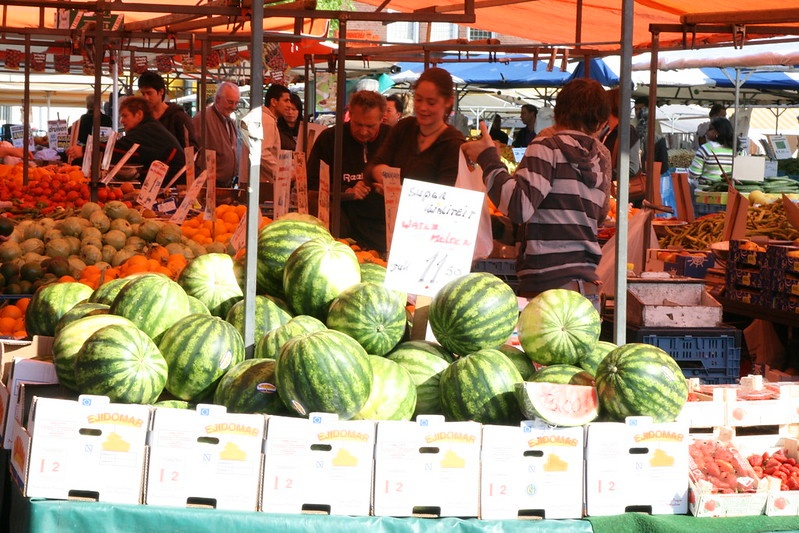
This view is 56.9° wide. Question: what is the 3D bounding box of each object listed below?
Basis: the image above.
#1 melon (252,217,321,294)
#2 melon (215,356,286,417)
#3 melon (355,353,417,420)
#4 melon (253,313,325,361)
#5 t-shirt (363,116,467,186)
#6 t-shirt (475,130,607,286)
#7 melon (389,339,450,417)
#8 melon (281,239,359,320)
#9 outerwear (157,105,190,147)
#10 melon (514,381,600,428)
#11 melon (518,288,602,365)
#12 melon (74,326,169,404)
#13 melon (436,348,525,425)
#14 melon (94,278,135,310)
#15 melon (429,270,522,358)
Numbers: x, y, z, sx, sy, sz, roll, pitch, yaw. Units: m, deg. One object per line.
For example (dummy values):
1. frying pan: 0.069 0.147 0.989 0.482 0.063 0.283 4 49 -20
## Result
1. melon: -0.624 -0.095 3.838 0.395 0.302 0.296 -13 27 -16
2. melon: -0.630 0.508 3.092 0.287 0.167 0.194 -12 48 -33
3. melon: -0.045 0.526 3.194 0.212 0.215 0.285 -3 0 24
4. melon: -0.535 0.367 3.470 0.367 0.261 0.459 4 -9 -17
5. t-shirt: 0.129 -1.012 6.495 0.797 0.451 0.744 9 -19 -8
6. t-shirt: 0.995 -0.351 4.859 0.958 1.091 0.304 0 3 -21
7. melon: 0.113 0.462 3.342 0.313 0.235 0.247 33 24 28
8. melon: -0.370 0.051 3.630 0.381 0.438 0.355 -1 -31 -5
9. outerwear: -2.926 -1.818 9.579 0.555 0.535 0.223 17 31 12
10. melon: 0.687 0.576 3.056 0.331 0.191 0.175 0 2 -15
11. melon: 0.726 0.270 3.354 0.286 0.283 0.362 -2 3 3
12. melon: -1.140 0.458 3.191 0.327 0.342 0.386 18 -20 -18
13. melon: 0.363 0.566 3.239 0.315 0.371 0.318 -23 -17 28
14. melon: -1.435 0.108 3.655 0.163 0.124 0.214 -14 4 13
15. melon: 0.329 0.218 3.474 0.402 0.311 0.315 -26 5 -41
